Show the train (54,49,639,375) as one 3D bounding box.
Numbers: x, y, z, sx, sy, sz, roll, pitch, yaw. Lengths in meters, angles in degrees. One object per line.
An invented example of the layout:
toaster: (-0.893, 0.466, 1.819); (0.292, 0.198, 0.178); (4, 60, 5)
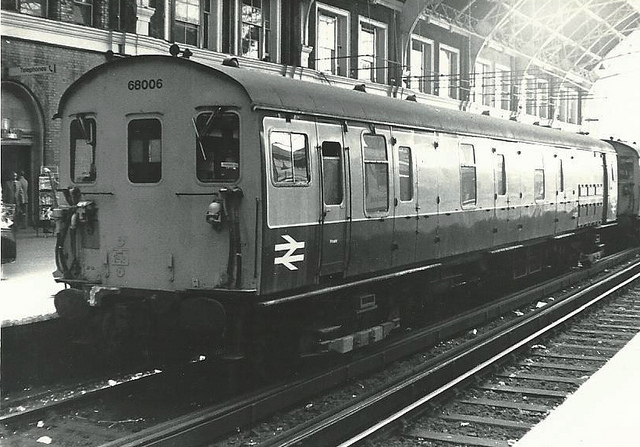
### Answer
train: (3.925, -0.078, 18.102); (5.833, 6.736, 23.312); (-2, 0, 36)

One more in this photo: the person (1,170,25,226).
person: (-8.959, -0.580, 17.513); (0.524, 1.346, 0.684); (9, 11, 35)
